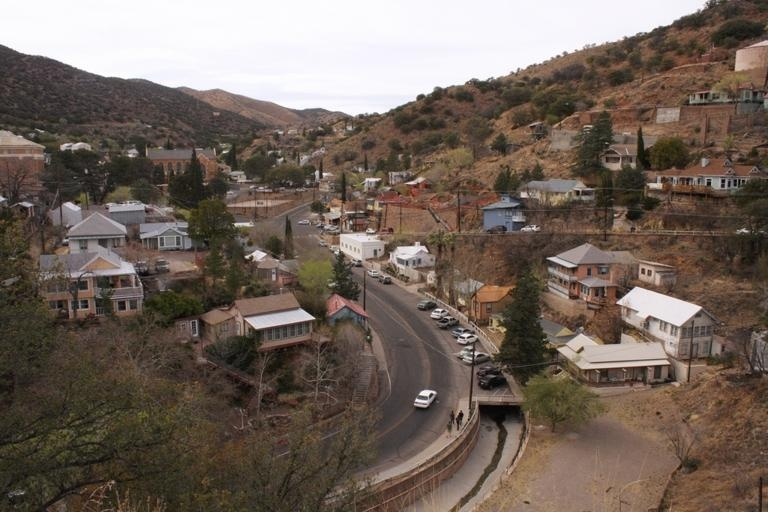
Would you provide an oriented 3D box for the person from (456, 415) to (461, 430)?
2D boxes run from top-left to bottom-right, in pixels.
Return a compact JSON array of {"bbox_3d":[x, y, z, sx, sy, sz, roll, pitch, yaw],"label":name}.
[{"bbox_3d":[5.210,11.373,52.265,0.374,0.912,0.846,-1,8,5],"label":"person"}]

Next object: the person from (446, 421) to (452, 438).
[{"bbox_3d":[4.504,11.867,51.714,0.351,0.845,0.949,-1,8,2],"label":"person"}]

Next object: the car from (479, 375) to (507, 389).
[{"bbox_3d":[8.106,9.234,56.039,1.897,0.663,0.889,-10,19,-23],"label":"car"}]

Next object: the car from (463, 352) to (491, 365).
[{"bbox_3d":[7.281,7.841,58.510,2.037,0.628,0.926,-6,11,-25],"label":"car"}]
